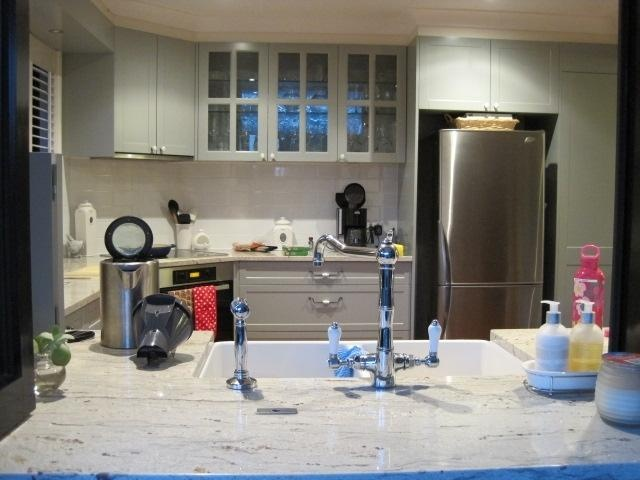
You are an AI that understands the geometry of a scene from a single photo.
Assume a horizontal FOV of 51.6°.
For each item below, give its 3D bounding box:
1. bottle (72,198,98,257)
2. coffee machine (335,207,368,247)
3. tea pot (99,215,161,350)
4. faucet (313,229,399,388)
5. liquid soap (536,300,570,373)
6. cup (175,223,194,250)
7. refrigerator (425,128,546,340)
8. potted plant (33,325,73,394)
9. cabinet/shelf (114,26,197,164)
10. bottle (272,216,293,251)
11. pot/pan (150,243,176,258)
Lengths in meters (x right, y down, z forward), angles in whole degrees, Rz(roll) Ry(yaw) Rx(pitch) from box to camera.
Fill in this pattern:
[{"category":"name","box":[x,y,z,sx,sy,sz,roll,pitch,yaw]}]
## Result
[{"category":"bottle","box":[-1.618,-0.066,4.530,0.118,0.356,0.209,-1,13,-6]},{"category":"coffee machine","box":[0.198,-0.110,4.872,0.254,0.352,0.256,0,2,-5]},{"category":"tea pot","box":[-0.711,0.168,2.449,0.225,0.472,0.289,-4,14,-19]},{"category":"faucet","box":[0.114,0.231,2.256,0.276,0.509,0.328,1,13,1]},{"category":"liquid soap","box":[0.747,0.324,2.130,0.101,0.192,0.058,3,14,12]},{"category":"cup","box":[-0.994,-0.020,4.819,0.161,0.205,0.161,0,5,0]},{"category":"refrigerator","box":[1.137,-0.033,4.397,0.718,1.359,0.270,-1,13,-4]},{"category":"potted plant","box":[-0.848,0.372,2.088,0.109,0.210,0.105,-5,14,-22]},{"category":"cabinet/shelf","box":[-1.111,-0.984,4.481,0.596,0.822,0.214,-5,14,-22]},{"category":"bottle","box":[-0.283,-0.050,4.999,0.163,0.209,0.173,0,13,0]},{"category":"pot/pan","box":[-0.980,0.069,4.123,0.088,0.043,0.143,-2,-4,31]}]
